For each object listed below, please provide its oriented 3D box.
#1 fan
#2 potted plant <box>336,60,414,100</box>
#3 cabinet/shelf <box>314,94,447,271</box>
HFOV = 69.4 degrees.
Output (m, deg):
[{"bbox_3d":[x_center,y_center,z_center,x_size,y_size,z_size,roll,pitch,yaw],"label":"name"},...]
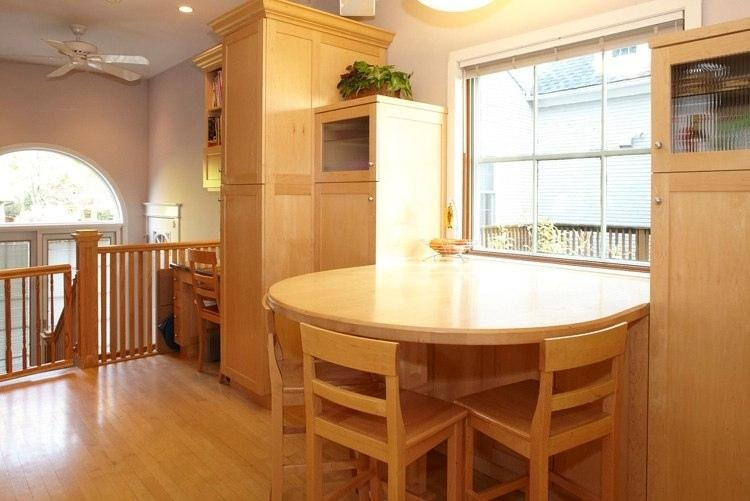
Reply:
[{"bbox_3d":[-3.275,-2.268,6.186,0.870,0.600,2.052,-7,16,-28],"label":"fan"},{"bbox_3d":[-0.028,-1.322,4.252,0.441,0.193,0.444,9,13,43],"label":"potted plant"},{"bbox_3d":[0.057,-0.483,4.161,1.058,1.344,0.640,-1,15,-6],"label":"cabinet/shelf"}]
